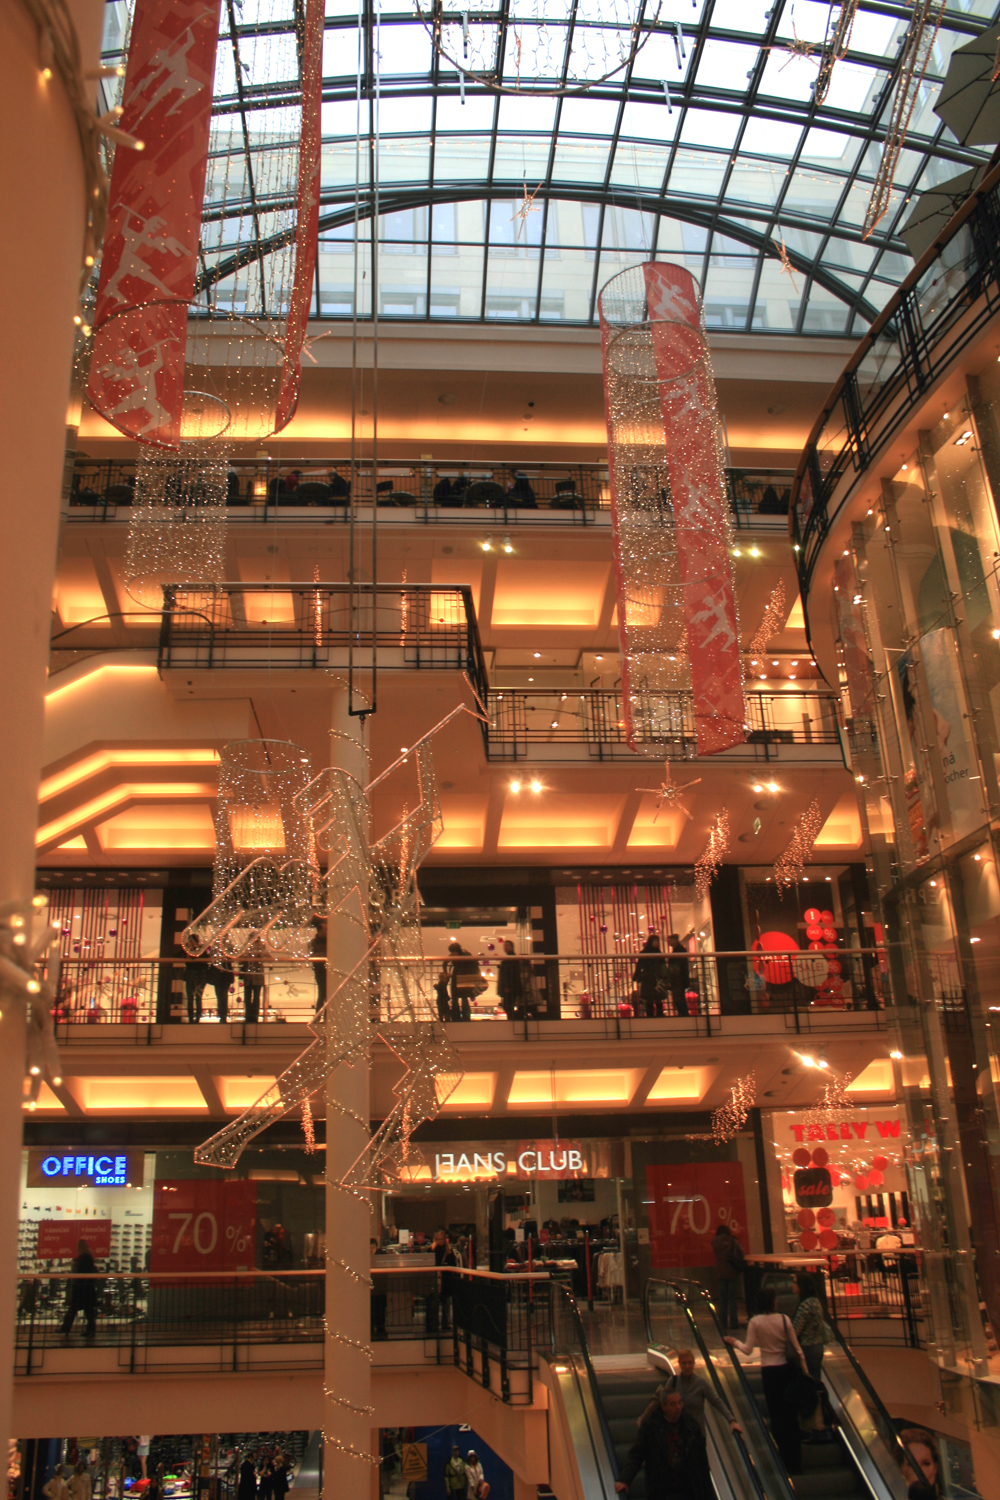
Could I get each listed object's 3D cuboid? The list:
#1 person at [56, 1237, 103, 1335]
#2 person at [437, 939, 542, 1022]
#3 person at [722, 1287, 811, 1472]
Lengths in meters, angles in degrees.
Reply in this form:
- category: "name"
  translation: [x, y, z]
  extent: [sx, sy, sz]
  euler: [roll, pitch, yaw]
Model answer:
- category: "person"
  translation: [-4.863, 6.285, 13.453]
  extent: [0.366, 0.967, 2.575]
  euler: [2, -23, -20]
- category: "person"
  translation: [-0.179, 3.202, 15.887]
  extent: [1.387, 1.185, 0.819]
  euler: [-5, -21, -4]
- category: "person"
  translation: [1.786, 4.045, 7.305]
  extent: [0.330, 0.886, 0.384]
  euler: [-9, -21, 8]
